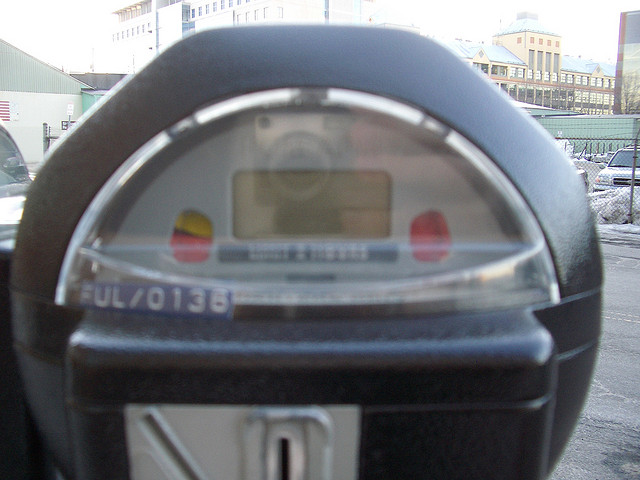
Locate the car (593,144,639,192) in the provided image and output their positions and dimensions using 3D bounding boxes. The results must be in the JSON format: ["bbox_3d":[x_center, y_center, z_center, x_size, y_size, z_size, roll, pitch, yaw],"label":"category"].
[{"bbox_3d":[7.977,-1.907,16.262,0.971,1.078,2.211,1,4,25],"label":"car"}]
